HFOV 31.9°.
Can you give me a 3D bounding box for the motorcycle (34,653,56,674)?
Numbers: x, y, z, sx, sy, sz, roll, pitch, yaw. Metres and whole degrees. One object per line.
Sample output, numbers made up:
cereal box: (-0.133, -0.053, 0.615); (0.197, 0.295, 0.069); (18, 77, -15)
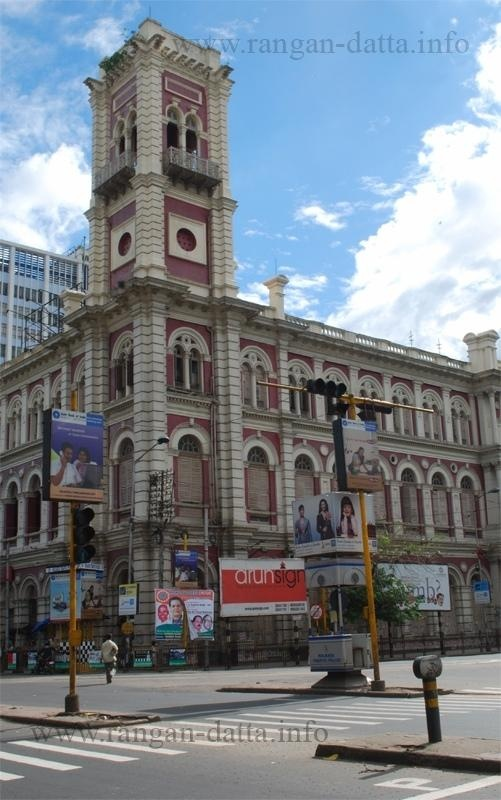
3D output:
motorcycle: (-8.833, 11.281, 37.609); (0.866, 0.850, 1.357); (0, -16, -12)
